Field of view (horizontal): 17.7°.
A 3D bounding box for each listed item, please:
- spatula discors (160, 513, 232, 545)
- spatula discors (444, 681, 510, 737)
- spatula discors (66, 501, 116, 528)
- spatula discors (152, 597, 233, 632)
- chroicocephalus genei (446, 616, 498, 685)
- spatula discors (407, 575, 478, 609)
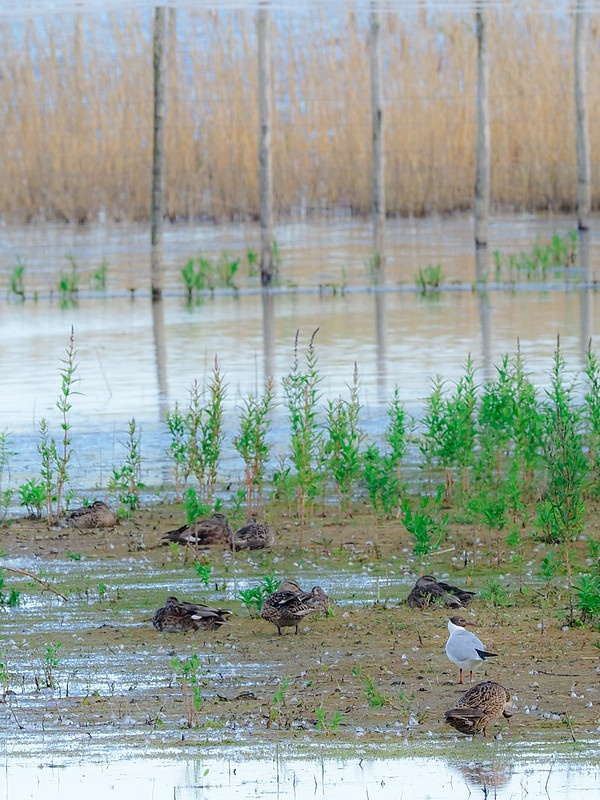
[{"bbox_3d":[-0.641,0.811,11.845,0.426,0.187,0.481,-2,10,-9],"label":"spatula discors"},{"bbox_3d":[0.813,1.392,8.617,0.148,0.266,0.319,-11,-12,44],"label":"spatula discors"},{"bbox_3d":[-1.336,0.749,12.270,0.201,0.126,0.184,-5,10,-7],"label":"spatula discors"},{"bbox_3d":[-0.576,1.147,10.141,0.398,0.165,0.207,-2,9,-10],"label":"spatula discors"},{"bbox_3d":[0.834,1.221,9.339,0.235,0.250,0.526,1,10,7],"label":"chroicocephalus genei"},{"bbox_3d":[0.774,1.061,10.574,0.382,0.119,0.320,1,10,6],"label":"spatula discors"}]
